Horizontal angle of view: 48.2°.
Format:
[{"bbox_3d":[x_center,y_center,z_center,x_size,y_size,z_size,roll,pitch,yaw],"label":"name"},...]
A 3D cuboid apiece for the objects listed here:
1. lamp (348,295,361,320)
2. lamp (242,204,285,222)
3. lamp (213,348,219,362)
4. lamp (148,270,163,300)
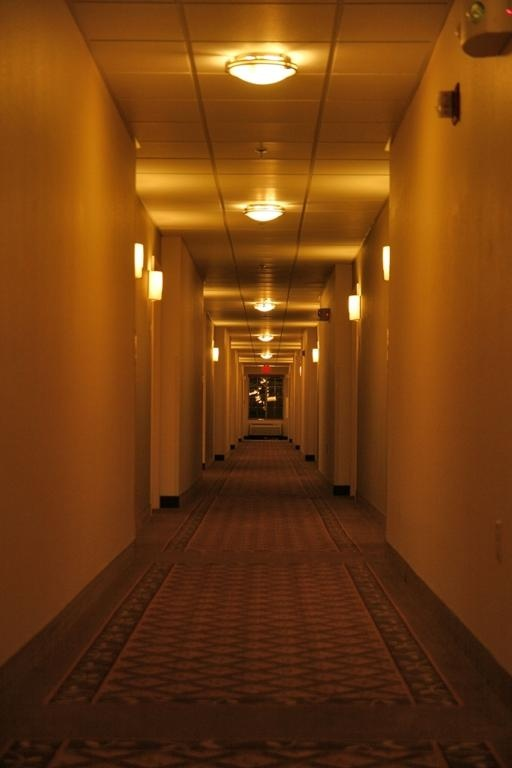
[{"bbox_3d":[1.549,-1.191,8.931,0.151,0.402,0.203,3,-7,-39],"label":"lamp"},{"bbox_3d":[0.094,-2.101,7.023,0.456,0.130,0.281,-1,-7,-4],"label":"lamp"},{"bbox_3d":[-1.258,-0.905,17.994,0.071,0.396,0.355,1,0,8],"label":"lamp"},{"bbox_3d":[-1.272,-1.257,7.222,0.157,0.440,0.277,0,-6,-13],"label":"lamp"}]
